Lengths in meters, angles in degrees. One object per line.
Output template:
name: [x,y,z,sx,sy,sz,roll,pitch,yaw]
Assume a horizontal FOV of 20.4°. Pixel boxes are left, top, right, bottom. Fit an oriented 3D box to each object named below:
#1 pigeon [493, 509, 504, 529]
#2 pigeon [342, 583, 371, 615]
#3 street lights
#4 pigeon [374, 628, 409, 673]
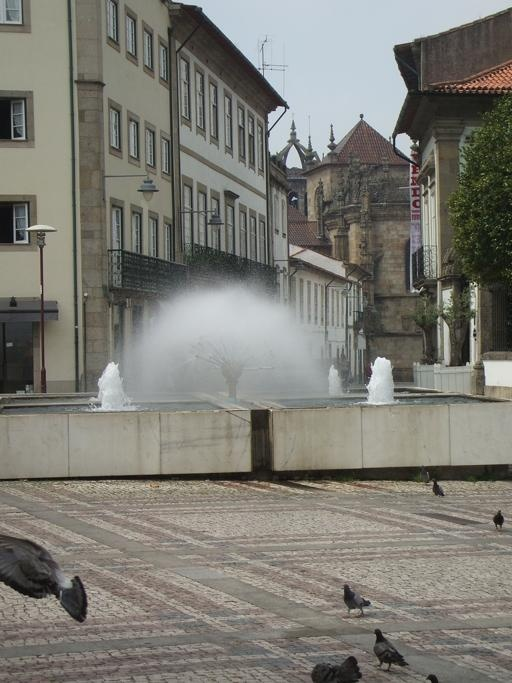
pigeon: [2.860,2.129,16.918,0.127,0.220,0.679,-1,-3,9]
pigeon: [0.862,2.154,11.879,0.126,0.268,0.333,-8,-17,30]
street lights: [-4.850,-0.633,32.103,0.821,4.115,0.794,-13,-17,35]
pigeon: [0.898,2.192,9.988,0.120,0.302,0.402,4,-1,-22]
